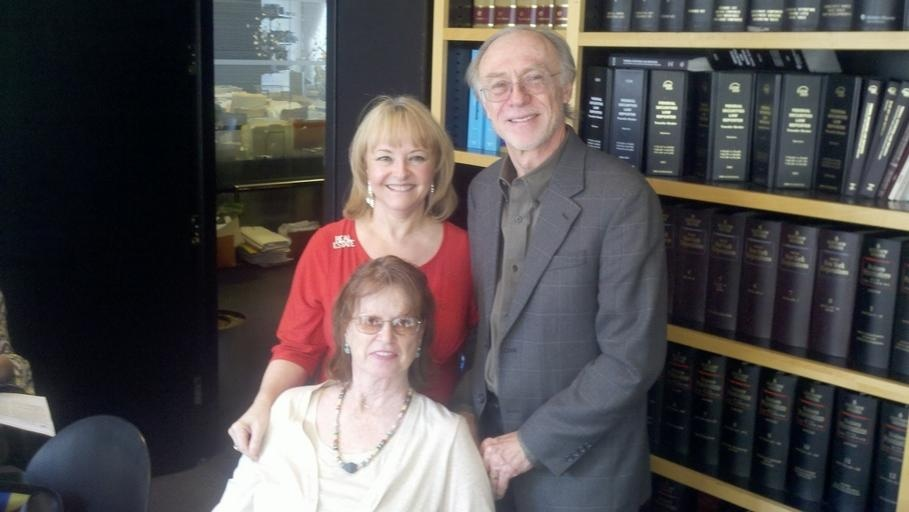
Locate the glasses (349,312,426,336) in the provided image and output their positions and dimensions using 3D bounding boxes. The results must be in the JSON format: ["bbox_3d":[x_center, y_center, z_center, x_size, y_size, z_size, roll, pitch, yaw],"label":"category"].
[{"bbox_3d":[-0.257,0.261,2.474,0.259,0.074,0.040,0,10,-4],"label":"glasses"}]

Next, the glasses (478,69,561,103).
[{"bbox_3d":[0.258,-0.668,2.530,0.296,0.124,0.060,2,10,5],"label":"glasses"}]

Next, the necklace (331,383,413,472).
[{"bbox_3d":[-0.353,0.668,2.508,0.231,0.343,0.060,13,-18,10],"label":"necklace"}]
